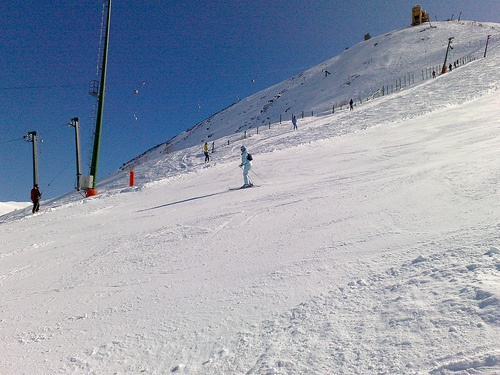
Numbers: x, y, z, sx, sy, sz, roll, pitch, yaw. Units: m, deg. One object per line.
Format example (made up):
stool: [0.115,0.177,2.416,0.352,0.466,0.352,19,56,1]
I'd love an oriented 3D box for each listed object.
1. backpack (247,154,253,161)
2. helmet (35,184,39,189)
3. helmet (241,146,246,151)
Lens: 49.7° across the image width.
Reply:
backpack: [-0.038,-1.295,23.293,0.266,0.418,0.252,-2,-1,-12]
helmet: [-11.178,-0.018,28.225,0.248,0.227,0.241,-3,-8,8]
helmet: [-0.313,-1.628,23.261,0.193,0.208,0.368,-12,9,-3]
